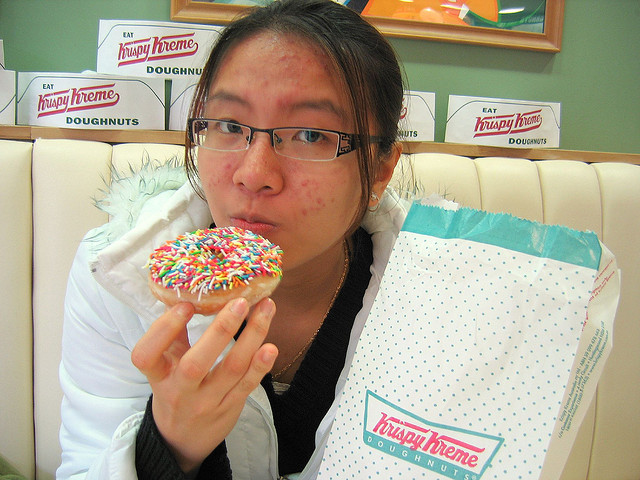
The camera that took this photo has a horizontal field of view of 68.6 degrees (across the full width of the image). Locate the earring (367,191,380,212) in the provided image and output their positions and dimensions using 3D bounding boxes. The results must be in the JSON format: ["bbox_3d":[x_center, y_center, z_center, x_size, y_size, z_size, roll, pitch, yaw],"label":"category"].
[{"bbox_3d":[0.156,-0.104,1.307,0.012,0.044,0.044,11,-3,34],"label":"earring"}]

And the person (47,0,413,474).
[{"bbox_3d":[-0.156,-0.013,1.493,0.970,1.317,0.766,-1,-24,10],"label":"person"}]

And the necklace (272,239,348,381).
[{"bbox_3d":[0.003,0.218,1.380,0.007,0.369,0.267,28,-22,-6],"label":"necklace"}]

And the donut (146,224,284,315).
[{"bbox_3d":[-0.227,0.063,1.040,0.271,0.102,0.292,16,24,28],"label":"donut"}]
